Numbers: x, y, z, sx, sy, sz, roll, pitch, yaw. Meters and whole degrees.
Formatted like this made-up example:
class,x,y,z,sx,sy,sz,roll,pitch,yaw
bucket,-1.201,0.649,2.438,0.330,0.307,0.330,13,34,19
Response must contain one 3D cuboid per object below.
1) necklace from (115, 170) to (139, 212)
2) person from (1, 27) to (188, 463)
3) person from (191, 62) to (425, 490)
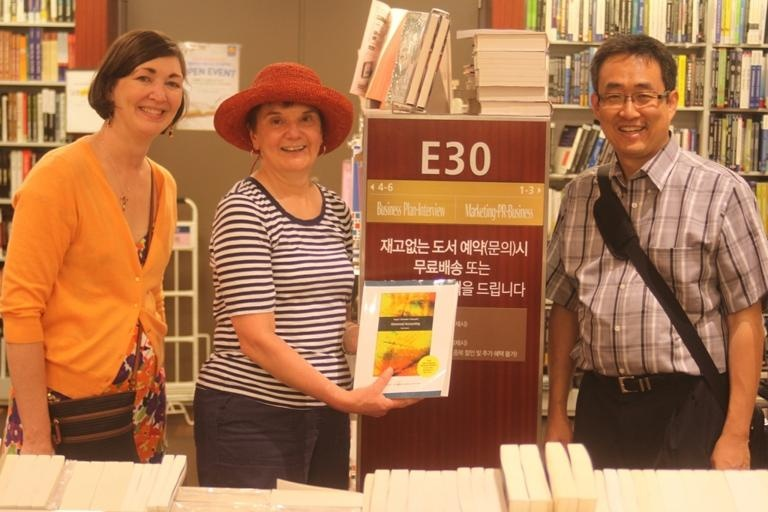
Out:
class,x,y,z,sx,sy,sz,roll,pitch,yaw
necklace,-0.960,-0.241,3.197,0.031,0.112,0.117,8,9,36
person,-1.015,-0.013,3.145,0.740,1.611,0.382,-8,11,-40
person,-0.359,0.095,3.203,0.733,1.611,0.652,-3,8,-14
